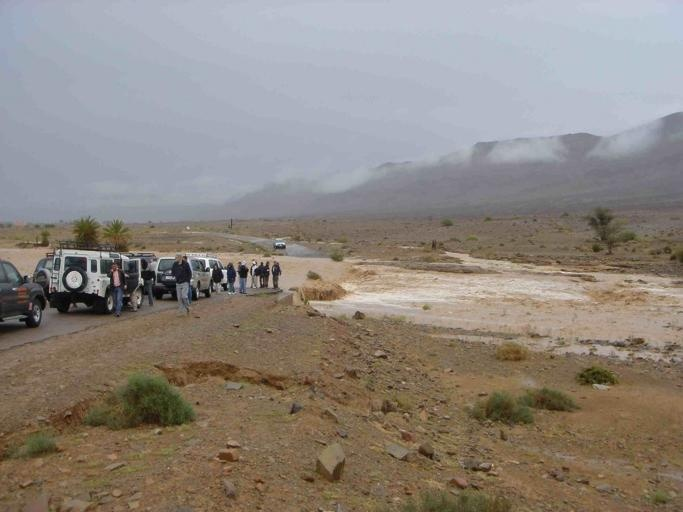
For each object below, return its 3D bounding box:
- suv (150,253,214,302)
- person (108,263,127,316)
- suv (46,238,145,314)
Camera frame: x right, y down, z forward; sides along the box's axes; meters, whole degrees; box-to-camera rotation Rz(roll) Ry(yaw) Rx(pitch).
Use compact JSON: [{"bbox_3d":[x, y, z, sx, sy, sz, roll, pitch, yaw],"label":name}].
[{"bbox_3d":[-9.109,1.313,24.450,2.670,1.867,4.624,0,3,9],"label":"suv"},{"bbox_3d":[-9.015,1.327,17.475,0.528,2.031,1.285,-3,4,-28],"label":"person"},{"bbox_3d":[-10.076,0.821,18.434,2.766,2.010,3.877,2,5,12],"label":"suv"}]
